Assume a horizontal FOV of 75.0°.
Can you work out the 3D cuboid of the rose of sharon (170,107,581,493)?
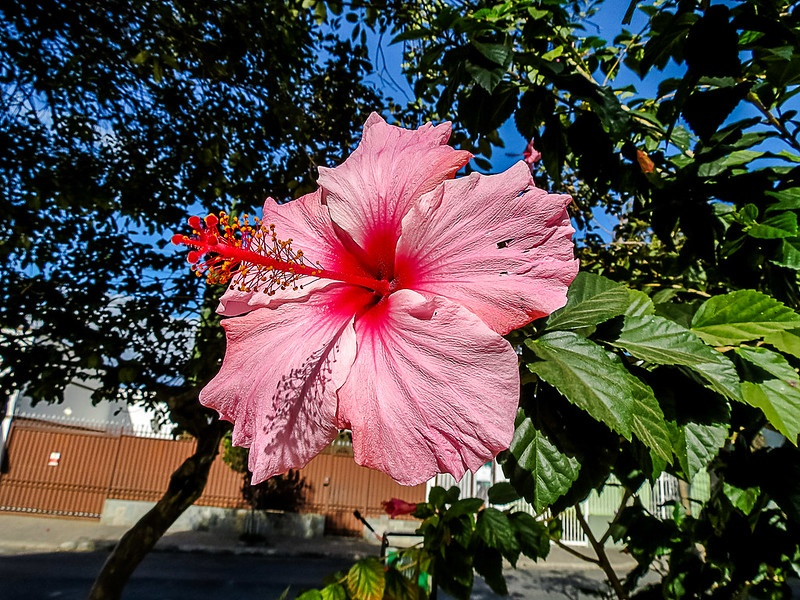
[{"bbox_3d":[-0.062,-0.025,1.458,1.088,1.013,0.318,-10,-27,15],"label":"rose of sharon"}]
